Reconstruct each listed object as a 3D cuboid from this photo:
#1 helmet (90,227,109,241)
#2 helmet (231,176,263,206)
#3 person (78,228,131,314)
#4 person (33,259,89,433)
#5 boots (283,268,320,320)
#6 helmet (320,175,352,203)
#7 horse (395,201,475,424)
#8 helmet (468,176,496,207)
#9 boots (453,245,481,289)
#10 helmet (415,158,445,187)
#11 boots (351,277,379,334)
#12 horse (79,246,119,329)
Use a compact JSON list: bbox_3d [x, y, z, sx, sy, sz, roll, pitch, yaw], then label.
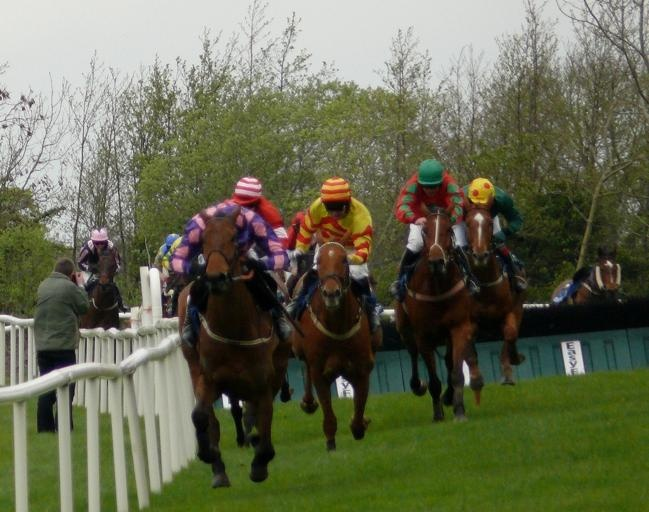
[{"bbox_3d":[-4.039,-0.379,17.169,0.381,0.311,0.595,-4,-2,-12],"label":"helmet"},{"bbox_3d":[-0.813,-0.706,10.352,0.315,0.315,0.244,-3,9,-27],"label":"helmet"},{"bbox_3d":[-4.095,0.211,17.408,0.674,1.436,1.944,-2,18,-22],"label":"person"},{"bbox_3d":[-3.126,1.007,11.395,0.622,2.131,1.062,0,-8,-17],"label":"person"},{"bbox_3d":[-0.229,0.293,10.442,0.217,0.389,0.734,27,28,-15],"label":"boots"},{"bbox_3d":[0.122,-0.726,10.349,0.332,0.312,0.301,-4,-8,-1],"label":"helmet"},{"bbox_3d":[1.309,0.731,11.305,0.824,2.399,1.823,-3,-8,1],"label":"horse"},{"bbox_3d":[1.995,-0.772,12.184,0.247,0.230,0.409,-1,38,9],"label":"helmet"},{"bbox_3d":[1.696,0.130,11.345,0.089,0.479,0.233,-13,-13,20],"label":"boots"},{"bbox_3d":[1.279,-1.022,11.573,0.315,0.386,0.317,-5,-8,10],"label":"helmet"},{"bbox_3d":[0.469,0.483,10.244,0.181,0.728,0.378,-8,42,6],"label":"boots"},{"bbox_3d":[-3.858,0.287,16.797,0.436,1.440,1.929,0,19,-14],"label":"horse"}]
